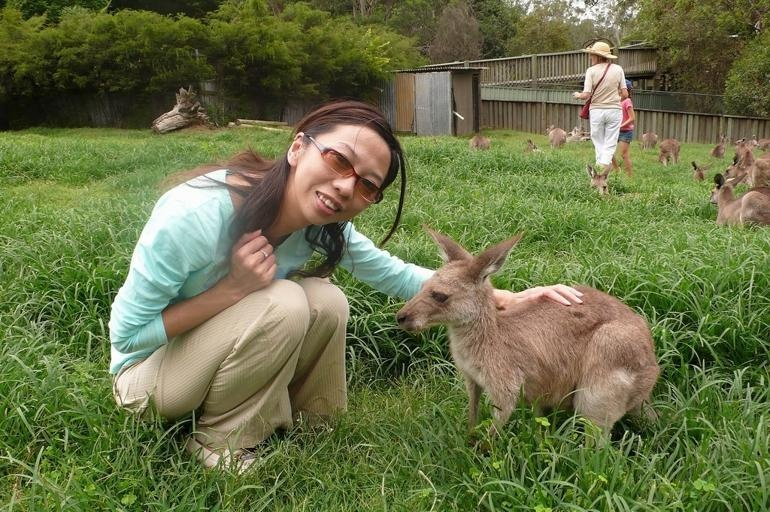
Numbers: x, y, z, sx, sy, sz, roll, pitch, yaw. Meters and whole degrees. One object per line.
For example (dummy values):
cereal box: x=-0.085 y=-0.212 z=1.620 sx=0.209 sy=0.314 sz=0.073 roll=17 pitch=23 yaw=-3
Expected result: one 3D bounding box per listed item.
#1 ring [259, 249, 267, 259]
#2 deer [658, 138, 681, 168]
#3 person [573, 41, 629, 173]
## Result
ring: x=-0.726 y=-0.012 z=3.471 sx=0.035 sy=0.045 sz=0.014 roll=-1 pitch=-12 yaw=-35
deer: x=7.273 y=-2.638 z=14.588 sx=0.439 sy=0.599 sz=1.040 roll=7 pitch=13 yaw=24
person: x=4.156 y=-2.739 z=10.953 sx=0.826 sy=2.569 sz=0.841 roll=-1 pitch=18 yaw=17
